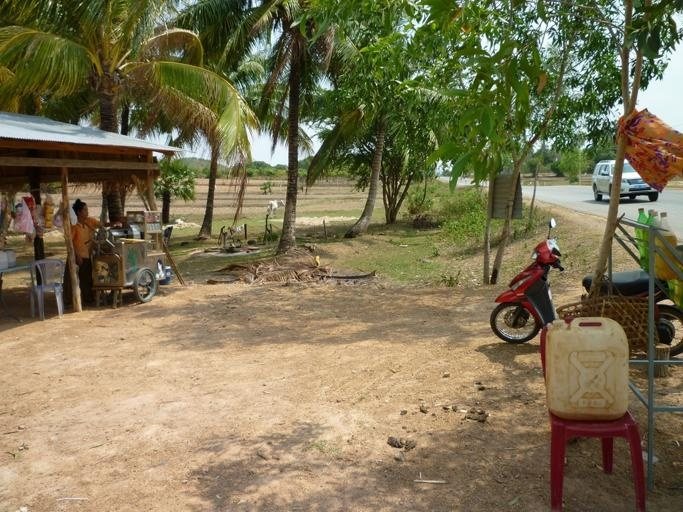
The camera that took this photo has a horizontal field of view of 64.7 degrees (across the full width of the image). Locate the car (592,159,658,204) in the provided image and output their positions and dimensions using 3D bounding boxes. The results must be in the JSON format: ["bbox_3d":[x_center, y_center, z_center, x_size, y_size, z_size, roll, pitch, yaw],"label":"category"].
[{"bbox_3d":[13.562,-3.553,26.017,2.265,2.196,6.209,3,13,21],"label":"car"}]

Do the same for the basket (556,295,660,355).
[{"bbox_3d":[3.028,0.650,6.282,1.036,0.603,0.873,-1,-3,-13],"label":"basket"}]
